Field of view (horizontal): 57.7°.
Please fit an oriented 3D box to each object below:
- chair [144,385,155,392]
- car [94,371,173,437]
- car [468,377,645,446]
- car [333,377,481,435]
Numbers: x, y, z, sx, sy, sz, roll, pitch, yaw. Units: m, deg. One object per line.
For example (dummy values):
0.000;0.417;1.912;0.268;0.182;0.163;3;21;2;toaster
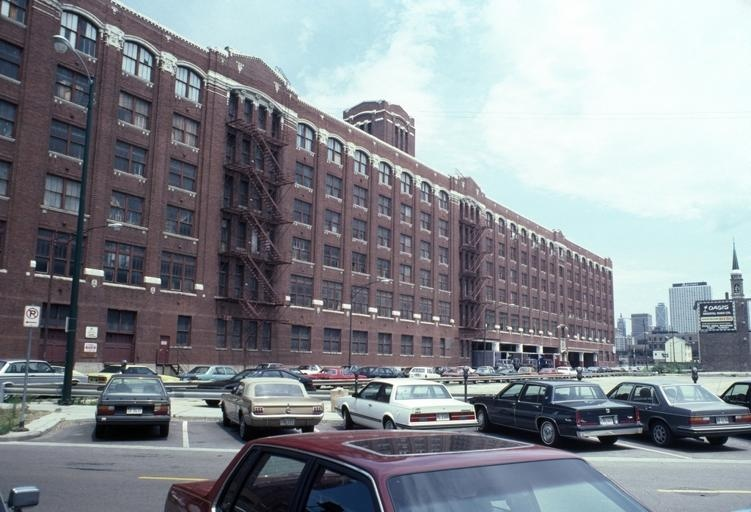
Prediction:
-8.377;4.936;25.315;0.303;0.291;0.243;-4;-5;6;chair
-8.778;5.334;24.882;1.833;1.344;3.169;2;-9;-15;car
6.439;5.617;25.465;2.820;1.630;5.339;9;-10;-34;car
0.538;5.708;25.986;2.216;1.393;4.403;7;-10;-31;car
